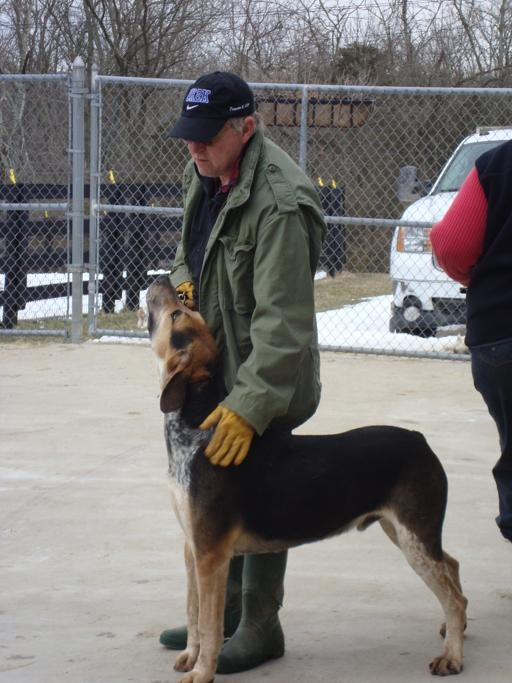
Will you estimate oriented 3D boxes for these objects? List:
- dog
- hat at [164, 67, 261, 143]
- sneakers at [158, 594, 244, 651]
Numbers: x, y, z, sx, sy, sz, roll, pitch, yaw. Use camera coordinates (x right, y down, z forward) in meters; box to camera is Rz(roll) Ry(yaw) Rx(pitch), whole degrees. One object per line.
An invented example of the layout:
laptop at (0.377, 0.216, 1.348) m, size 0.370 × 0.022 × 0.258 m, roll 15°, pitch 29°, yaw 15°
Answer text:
dog at (0.162, 0.441, 3.648) m, size 1.024 × 1.198 × 0.462 m, roll 1°, pitch 13°, yaw -1°
hat at (-0.148, -0.774, 3.734) m, size 0.326 × 0.164 × 0.213 m, roll -31°, pitch 38°, yaw -33°
sneakers at (-0.177, 0.965, 3.920) m, size 0.335 × 0.210 × 0.112 m, roll 6°, pitch -9°, yaw -17°
